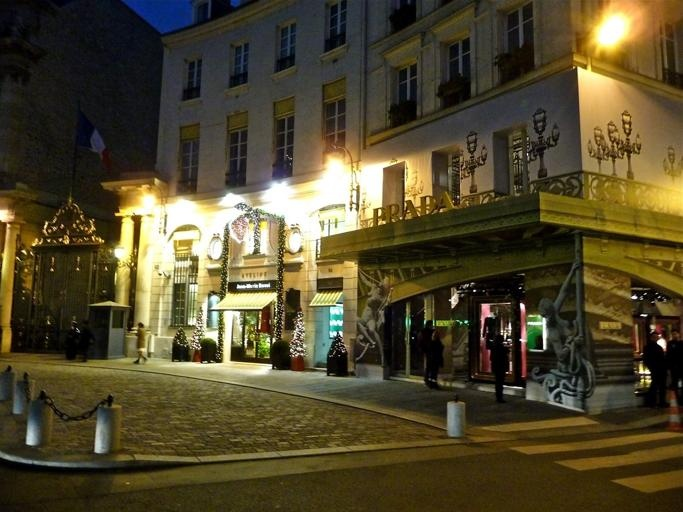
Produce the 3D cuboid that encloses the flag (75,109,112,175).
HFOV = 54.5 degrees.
[{"bbox_3d":[-11.177,-5.416,29.751,1.466,2.481,1.439,4,-10,-21],"label":"flag"}]

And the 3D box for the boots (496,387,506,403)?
[{"bbox_3d":[4.617,4.039,19.219,0.261,0.411,1.470,-1,-9,13],"label":"boots"}]

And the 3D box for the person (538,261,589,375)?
[{"bbox_3d":[6.095,1.680,18.156,0.474,2.985,1.137,9,-13,-42],"label":"person"}]

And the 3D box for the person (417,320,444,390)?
[{"bbox_3d":[2.925,3.196,21.682,0.713,2.218,1.423,0,-9,7],"label":"person"}]

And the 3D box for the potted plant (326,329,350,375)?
[{"bbox_3d":[-0.125,3.703,25.279,0.887,1.574,0.863,8,-18,-38],"label":"potted plant"}]

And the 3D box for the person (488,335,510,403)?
[{"bbox_3d":[4.628,3.271,19.394,0.466,1.932,1.207,-1,-10,13],"label":"person"}]

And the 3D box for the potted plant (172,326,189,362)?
[{"bbox_3d":[-7.356,4.002,29.922,0.915,1.531,0.455,-3,-10,22],"label":"potted plant"}]
